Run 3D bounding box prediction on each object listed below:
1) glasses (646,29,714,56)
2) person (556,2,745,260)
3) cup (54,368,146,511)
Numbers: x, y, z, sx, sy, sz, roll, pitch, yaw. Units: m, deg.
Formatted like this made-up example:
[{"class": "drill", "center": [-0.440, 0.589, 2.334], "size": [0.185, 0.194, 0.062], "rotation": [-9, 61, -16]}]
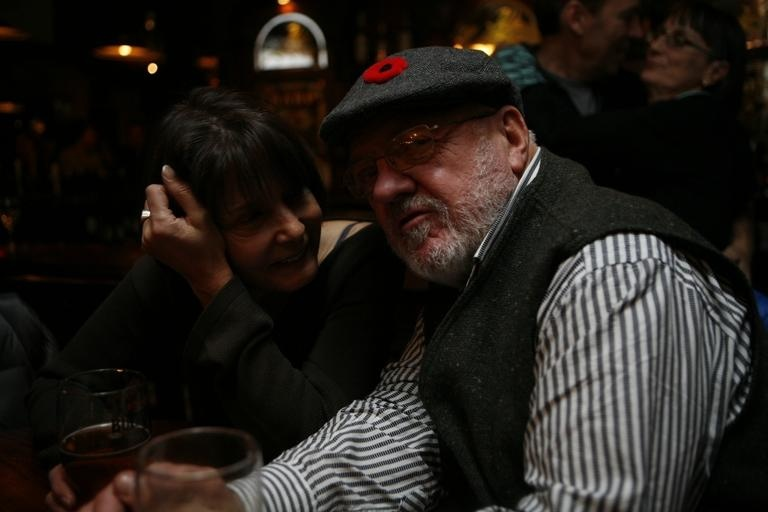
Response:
[{"class": "glasses", "center": [1.085, -0.777, 3.057], "size": [0.118, 0.033, 0.116], "rotation": [13, 8, -10]}, {"class": "person", "center": [1.284, -0.666, 3.626], "size": [0.772, 1.333, 0.634], "rotation": [11, 17, 23]}, {"class": "cup", "center": [-0.813, 0.532, 2.435], "size": [0.253, 0.350, 0.234], "rotation": [4, 10, -1]}]
